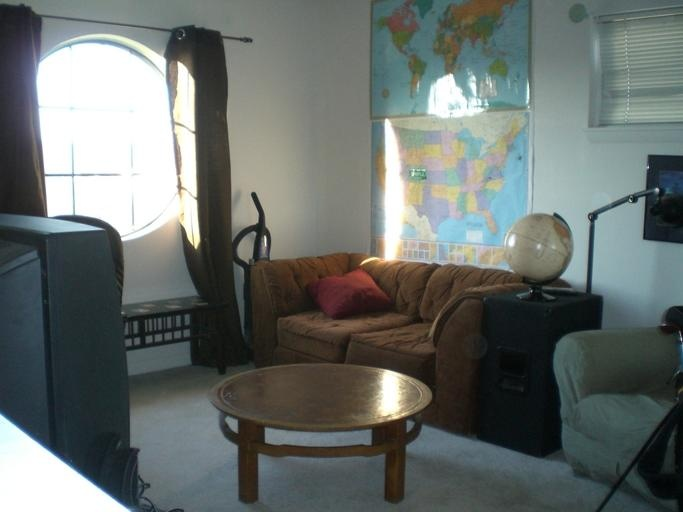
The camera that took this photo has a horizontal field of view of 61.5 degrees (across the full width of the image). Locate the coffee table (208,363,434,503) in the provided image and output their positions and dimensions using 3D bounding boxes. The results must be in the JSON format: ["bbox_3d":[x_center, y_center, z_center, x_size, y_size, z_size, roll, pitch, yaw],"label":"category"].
[{"bbox_3d":[-0.105,0.861,2.763,1.045,0.447,0.787,1,8,9],"label":"coffee table"}]

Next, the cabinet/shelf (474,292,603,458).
[{"bbox_3d":[1.089,0.580,3.340,0.627,0.871,0.583,-3,4,-44],"label":"cabinet/shelf"}]

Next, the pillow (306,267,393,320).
[{"bbox_3d":[0.054,0.258,4.297,0.533,0.309,0.380,1,9,-34],"label":"pillow"}]

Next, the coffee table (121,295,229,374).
[{"bbox_3d":[-1.214,0.608,4.200,0.764,0.571,0.570,-5,9,-29],"label":"coffee table"}]
